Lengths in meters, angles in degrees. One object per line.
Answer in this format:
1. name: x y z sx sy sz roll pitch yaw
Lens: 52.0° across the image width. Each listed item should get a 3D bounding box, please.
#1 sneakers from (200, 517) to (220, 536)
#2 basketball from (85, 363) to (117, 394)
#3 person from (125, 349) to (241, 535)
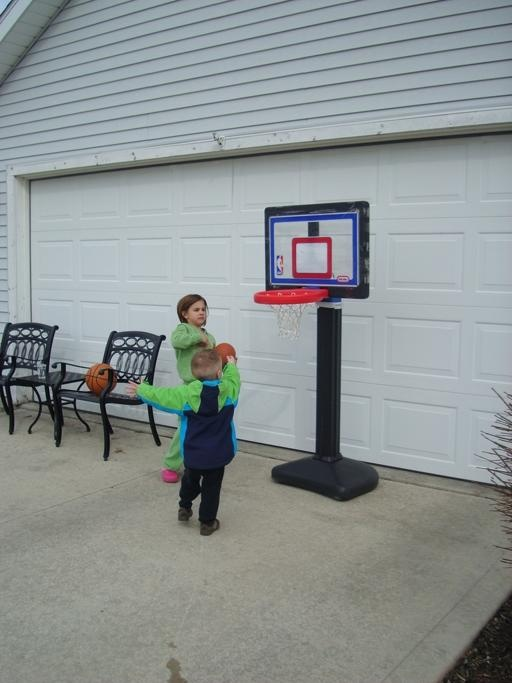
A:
1. sneakers: -0.257 1.019 2.913 0.055 0.051 0.120 6 13 19
2. basketball: -1.326 0.297 4.567 0.251 0.298 0.249 4 8 16
3. person: -0.332 0.553 2.807 0.489 1.031 0.308 -2 5 4
